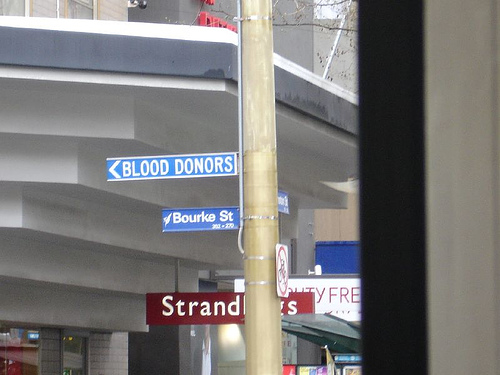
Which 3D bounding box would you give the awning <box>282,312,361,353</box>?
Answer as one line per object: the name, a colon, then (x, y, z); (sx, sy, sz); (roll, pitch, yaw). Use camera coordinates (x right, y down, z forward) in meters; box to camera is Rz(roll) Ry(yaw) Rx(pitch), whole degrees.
awning: (1.012, 1.940, 19.203); (1.027, 0.410, 0.795); (16, -8, -4)
